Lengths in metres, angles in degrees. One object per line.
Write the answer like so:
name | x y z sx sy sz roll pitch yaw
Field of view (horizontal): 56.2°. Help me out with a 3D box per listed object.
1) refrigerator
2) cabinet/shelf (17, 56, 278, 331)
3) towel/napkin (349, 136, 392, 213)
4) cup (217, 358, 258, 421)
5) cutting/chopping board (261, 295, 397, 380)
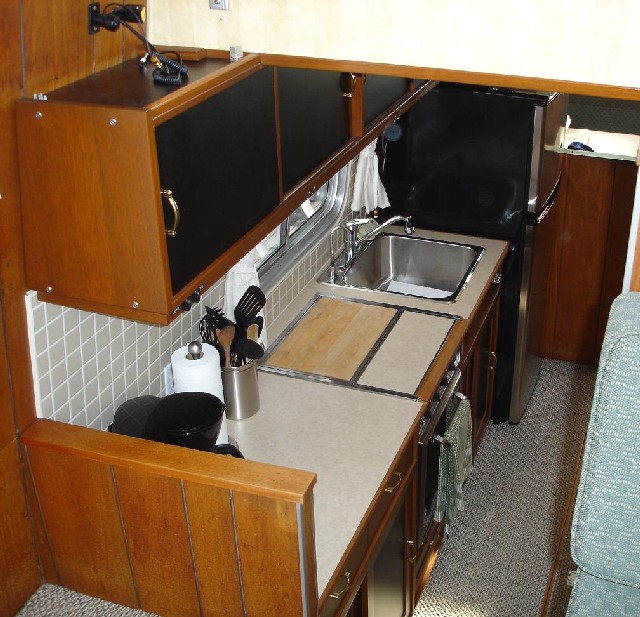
refrigerator | 0.730 -0.330 3.019 0.930 1.995 0.877 10 34 21
cabinet/shelf | -0.375 -0.224 1.377 0.283 0.443 0.581 9 14 12
towel/napkin | 0.250 -0.676 2.970 0.092 0.456 0.193 29 51 28
cup | -0.237 0.242 2.009 0.149 0.199 0.169 -3 31 2
cutting/chopping board | 0.053 0.091 2.458 0.438 0.668 0.034 8 56 -15
